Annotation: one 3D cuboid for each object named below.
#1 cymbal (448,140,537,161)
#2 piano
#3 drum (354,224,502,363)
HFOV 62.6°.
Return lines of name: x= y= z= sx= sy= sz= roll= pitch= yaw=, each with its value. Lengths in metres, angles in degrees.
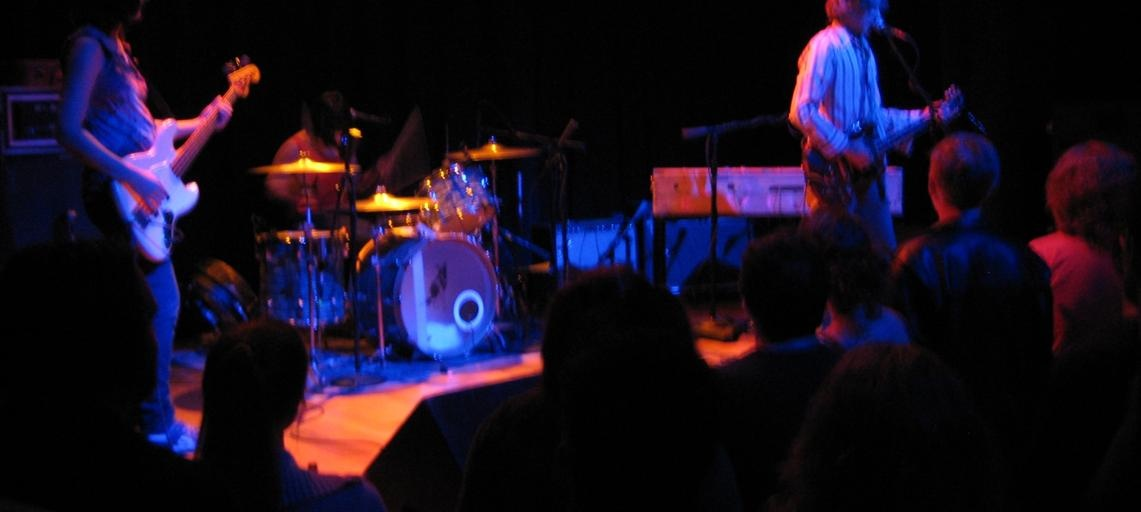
cymbal: x=-0.713 y=-0.964 z=8.816 sx=0.445 sy=0.091 sz=0.418 roll=-1 pitch=0 yaw=-26
piano: x=1.670 y=-0.621 z=9.370 sx=2.679 sy=0.516 sz=1.404 roll=-2 pitch=2 yaw=-25
drum: x=-1.409 y=0.295 z=8.673 sx=1.301 sy=1.114 sz=1.191 roll=0 pitch=6 yaw=-34
